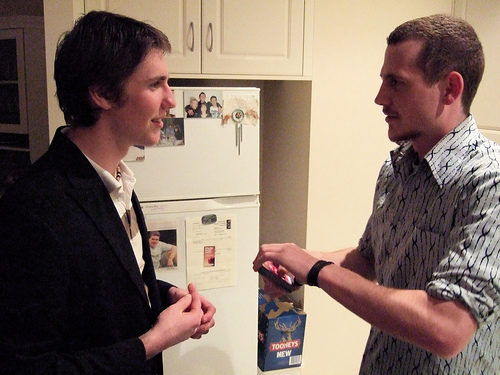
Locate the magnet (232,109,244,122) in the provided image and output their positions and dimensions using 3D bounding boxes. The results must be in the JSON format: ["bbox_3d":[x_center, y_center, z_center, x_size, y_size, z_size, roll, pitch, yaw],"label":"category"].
[{"bbox_3d":[-0.060,-0.347,2.097,0.055,0.060,0.015,-2,5,-16],"label":"magnet"}]

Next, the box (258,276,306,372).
[{"bbox_3d":[0.183,0.841,2.555,0.269,0.364,0.311,-1,4,0],"label":"box"}]
